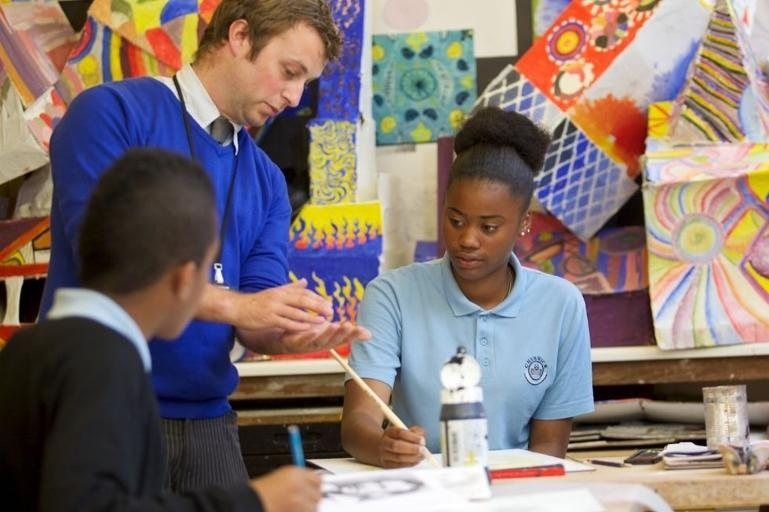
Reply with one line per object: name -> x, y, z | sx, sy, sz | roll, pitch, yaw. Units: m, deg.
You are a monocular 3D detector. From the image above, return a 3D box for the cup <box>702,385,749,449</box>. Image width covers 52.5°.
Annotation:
cup -> 0.897, 0.427, 2.058 | 0.104, 0.158, 0.173 | -1, 3, 23

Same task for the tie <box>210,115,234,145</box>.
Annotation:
tie -> -0.431, -0.339, 2.105 | 0.066, 0.067, 0.019 | -15, 25, -38
